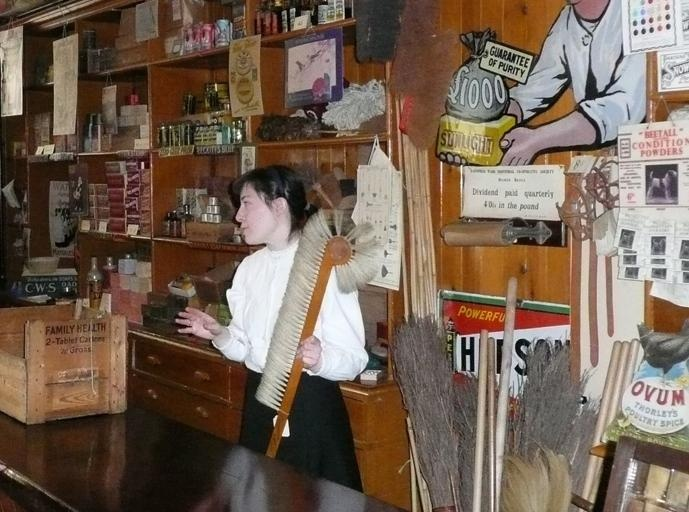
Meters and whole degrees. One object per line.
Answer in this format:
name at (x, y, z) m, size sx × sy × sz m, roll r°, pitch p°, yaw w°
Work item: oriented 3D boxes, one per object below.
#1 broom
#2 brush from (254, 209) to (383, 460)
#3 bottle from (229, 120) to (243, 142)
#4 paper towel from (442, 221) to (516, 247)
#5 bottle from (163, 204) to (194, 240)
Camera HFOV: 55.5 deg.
broom at (0.502, 0.659, 2.348) m, size 0.586 × 0.326 × 0.706 m, roll -3°, pitch 44°, yaw -3°
brush at (-0.095, 0.403, 2.554) m, size 0.404 × 1.346 × 0.240 m, roll -5°, pitch 37°, yaw -17°
bottle at (-0.623, -0.718, 3.738) m, size 0.069 × 0.123 × 0.134 m, roll -8°, pitch 14°, yaw -20°
paper towel at (0.555, -0.094, 2.849) m, size 0.367 × 0.134 × 0.100 m, roll 8°, pitch 17°, yaw 39°
bottle at (-1.046, -0.209, 4.118) m, size 0.078 × 0.193 × 0.202 m, roll 4°, pitch -4°, yaw -44°
